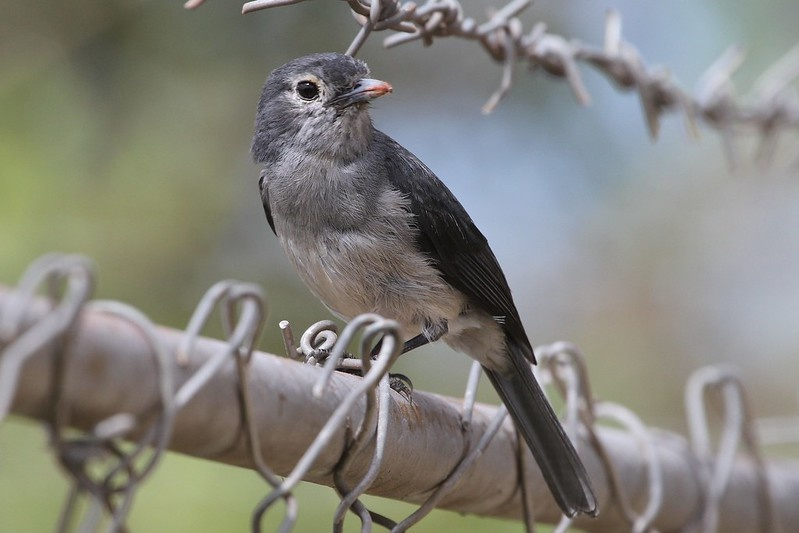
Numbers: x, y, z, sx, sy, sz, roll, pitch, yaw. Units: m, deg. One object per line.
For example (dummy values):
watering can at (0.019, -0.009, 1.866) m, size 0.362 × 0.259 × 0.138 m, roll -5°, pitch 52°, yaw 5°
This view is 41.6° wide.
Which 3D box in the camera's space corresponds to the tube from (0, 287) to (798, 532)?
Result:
tube at (0.061, 0.649, 3.949) m, size 3.032 × 0.726 × 0.645 m, roll 8°, pitch -6°, yaw -20°
